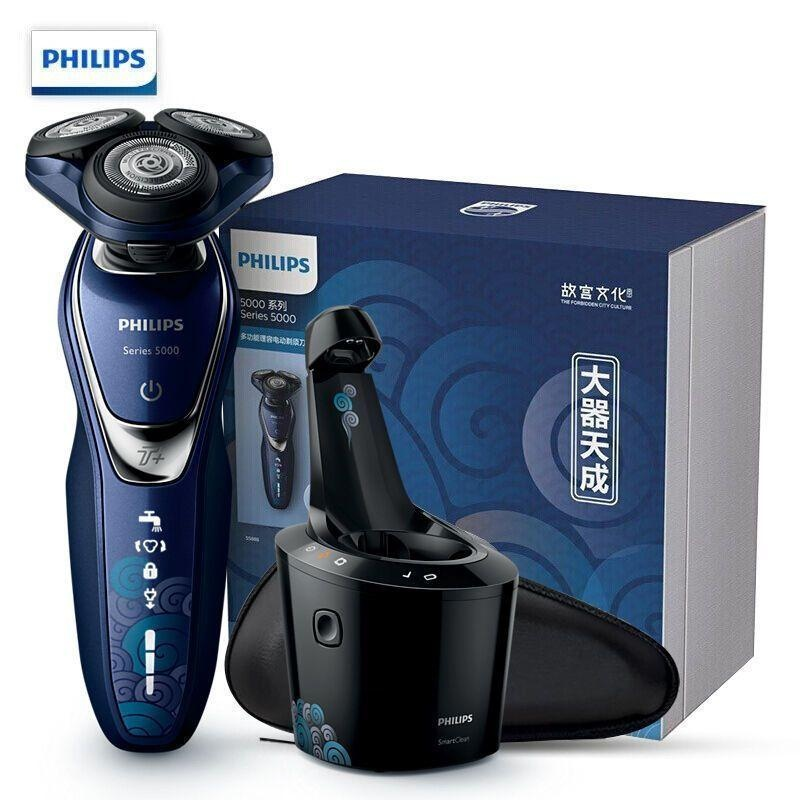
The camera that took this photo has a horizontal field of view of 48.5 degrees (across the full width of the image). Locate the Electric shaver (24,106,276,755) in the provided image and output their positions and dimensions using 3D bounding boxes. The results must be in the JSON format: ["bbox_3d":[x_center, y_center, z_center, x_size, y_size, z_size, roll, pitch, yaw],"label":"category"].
[{"bbox_3d":[-0.402,0.027,1.355,0.308,0.928,0.373,4,14,19],"label":"Electric shaver"}]

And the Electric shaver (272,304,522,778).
[{"bbox_3d":[-0.032,0.188,1.214,0.261,0.605,0.373,-10,16,-34],"label":"Electric shaver"}]
